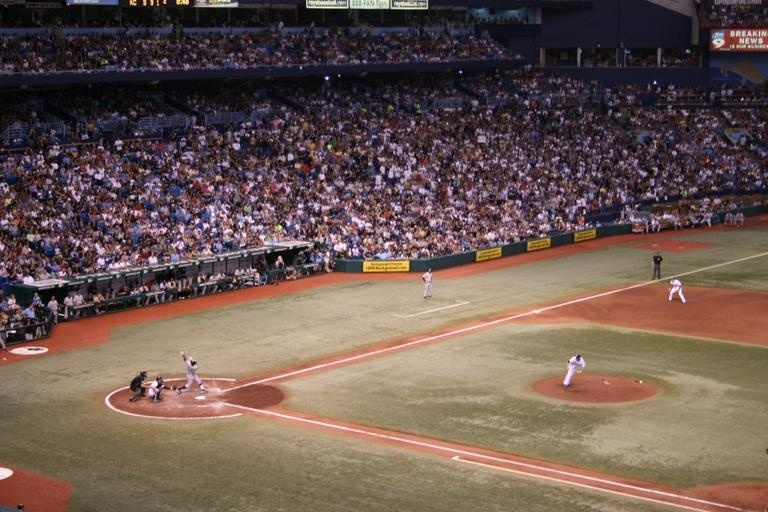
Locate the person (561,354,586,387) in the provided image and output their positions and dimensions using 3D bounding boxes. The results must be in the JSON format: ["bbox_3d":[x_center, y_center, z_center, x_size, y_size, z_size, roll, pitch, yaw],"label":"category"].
[{"bbox_3d":[10.113,6.105,50.376,0.936,1.827,1.288,11,13,12],"label":"person"}]
